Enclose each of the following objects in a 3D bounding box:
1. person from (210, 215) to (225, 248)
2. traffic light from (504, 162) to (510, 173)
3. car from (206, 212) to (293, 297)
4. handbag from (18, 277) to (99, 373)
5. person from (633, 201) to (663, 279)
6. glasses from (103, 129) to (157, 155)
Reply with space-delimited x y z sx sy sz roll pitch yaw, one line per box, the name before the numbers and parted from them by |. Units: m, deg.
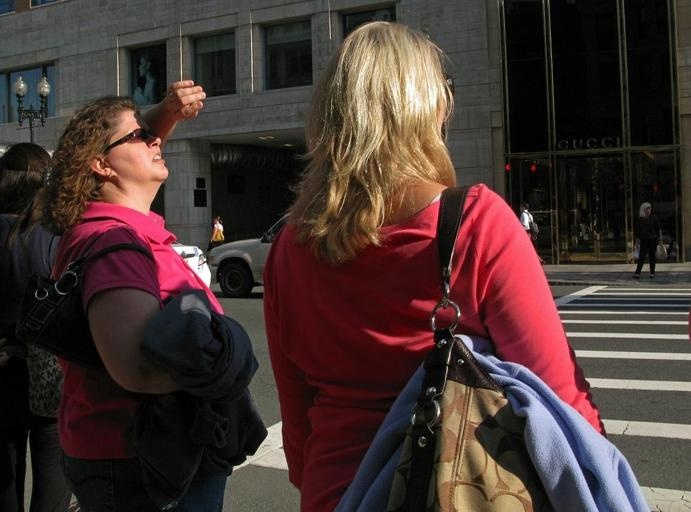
person | -4.544 -0.847 29.166 0.625 1.454 1.219 0 -3 -2
traffic light | 4.486 -2.447 22.748 0.137 0.224 0.044 -5 -5 42
car | -2.044 -0.016 15.640 2.127 1.364 1.427 0 -2 10
handbag | -1.093 0.294 3.253 0.309 0.350 0.222 22 -13 -14
person | 6.525 -0.350 17.837 0.516 1.681 2.017 0 7 21
glasses | -0.915 -0.500 3.530 0.121 0.044 0.131 -25 1 9
